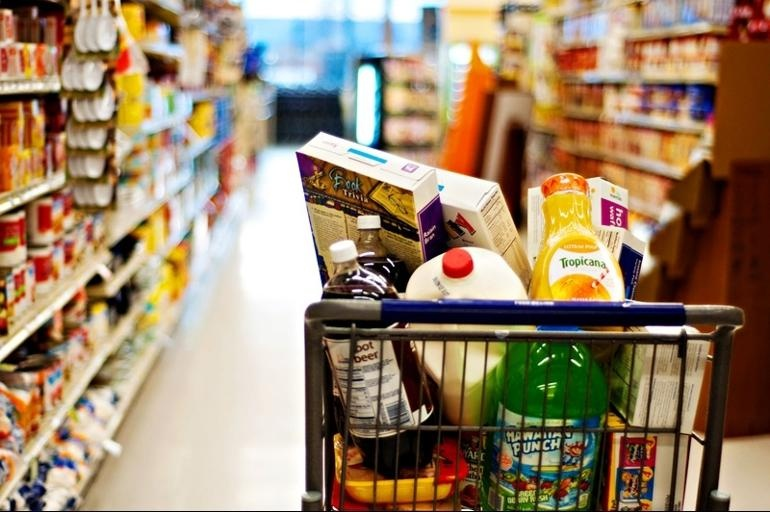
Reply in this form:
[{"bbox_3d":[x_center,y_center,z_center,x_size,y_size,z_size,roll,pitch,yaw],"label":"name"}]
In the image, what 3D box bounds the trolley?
[{"bbox_3d":[0.296,0.172,1.263,0.793,0.585,0.465,0,-1,0],"label":"trolley"}]
